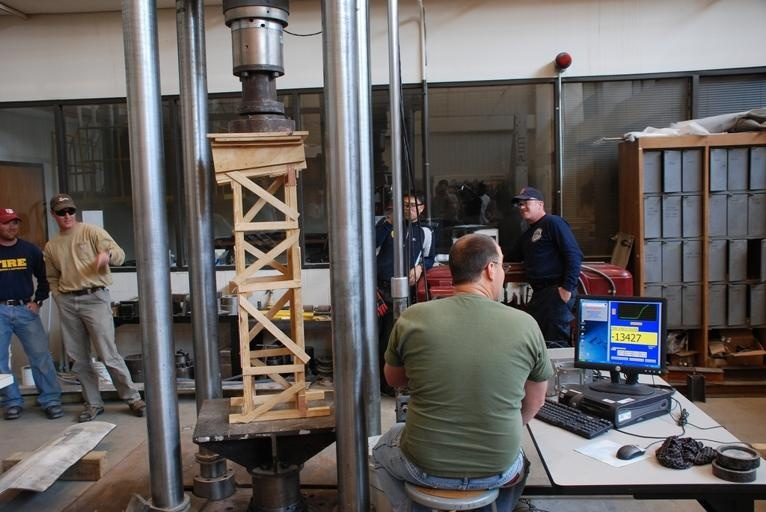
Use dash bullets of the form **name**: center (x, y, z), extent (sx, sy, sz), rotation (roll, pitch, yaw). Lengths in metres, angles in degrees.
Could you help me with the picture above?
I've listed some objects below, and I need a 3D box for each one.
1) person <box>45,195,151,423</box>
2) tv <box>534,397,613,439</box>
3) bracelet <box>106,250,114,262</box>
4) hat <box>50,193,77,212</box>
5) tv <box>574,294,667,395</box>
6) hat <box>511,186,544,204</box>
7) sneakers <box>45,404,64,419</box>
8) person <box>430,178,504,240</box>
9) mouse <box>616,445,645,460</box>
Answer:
- **person**: center (-2.915, 0.502, 8.289), extent (0.817, 2.227, 0.466), rotation (-5, 8, -17)
- **tv**: center (1.366, 1.183, 6.084), extent (0.195, 0.088, 0.457), rotation (-8, 12, -35)
- **bracelet**: center (-2.681, -0.007, 8.131), extent (0.061, 0.074, 0.077), rotation (4, -24, -8)
- **hat**: center (-3.202, -0.511, 8.239), extent (0.217, 0.167, 0.295), rotation (-6, 0, -42)
- **tv**: center (1.784, 0.663, 6.294), extent (0.723, 0.741, 0.252), rotation (1, -7, 18)
- **hat**: center (1.384, -0.574, 8.022), extent (0.301, 0.152, 0.185), rotation (8, -1, -3)
- **sneakers**: center (-3.314, 1.561, 8.360), extent (0.231, 0.097, 0.086), rotation (-12, -12, 42)
- **person**: center (0.883, -0.526, 9.342), extent (0.717, 0.822, 0.623), rotation (-2, 6, -8)
- **mouse**: center (1.707, 1.335, 5.767), extent (0.160, 0.049, 0.088), rotation (-10, 14, -24)
